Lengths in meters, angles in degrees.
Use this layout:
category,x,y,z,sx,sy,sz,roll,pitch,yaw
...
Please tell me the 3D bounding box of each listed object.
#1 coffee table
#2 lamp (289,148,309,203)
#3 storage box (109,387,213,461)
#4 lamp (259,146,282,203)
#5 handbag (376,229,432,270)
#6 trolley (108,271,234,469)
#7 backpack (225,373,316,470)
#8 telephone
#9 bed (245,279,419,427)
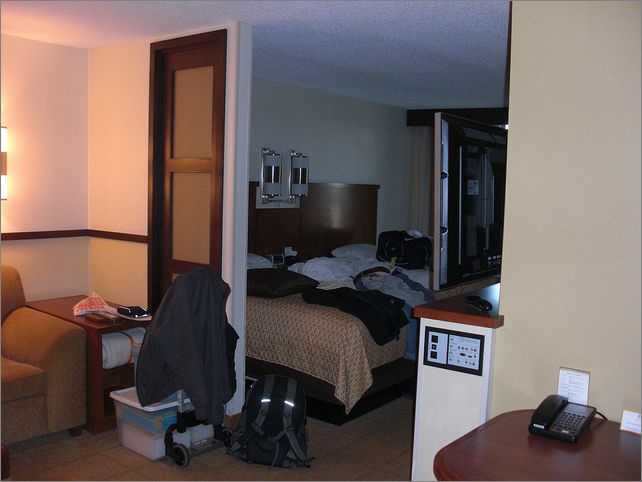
category,x,y,z,sx,sy,sz,roll,pitch,yaw
coffee table,-1.966,0.939,4.375,0.661,1.076,1.208,-5,8,-43
lamp,-0.260,-0.770,6.140,0.232,0.583,0.212,2,8,-3
storage box,-1.130,1.280,3.704,0.413,0.313,0.594,2,2,44
lamp,-0.560,-0.722,5.799,0.226,0.606,0.256,1,9,-8
handbag,0.971,0.126,6.151,0.409,0.389,0.541,-9,17,-43
trolley,-1.001,0.849,3.647,0.766,1.249,0.780,0,2,11
backpack,-0.334,1.277,3.744,0.614,0.637,0.342,10,5,2
telephone,1.045,0.733,2.180,0.337,0.092,0.261,-13,7,-17
bed,0.059,0.767,4.299,1.061,0.509,1.075,4,4,40
